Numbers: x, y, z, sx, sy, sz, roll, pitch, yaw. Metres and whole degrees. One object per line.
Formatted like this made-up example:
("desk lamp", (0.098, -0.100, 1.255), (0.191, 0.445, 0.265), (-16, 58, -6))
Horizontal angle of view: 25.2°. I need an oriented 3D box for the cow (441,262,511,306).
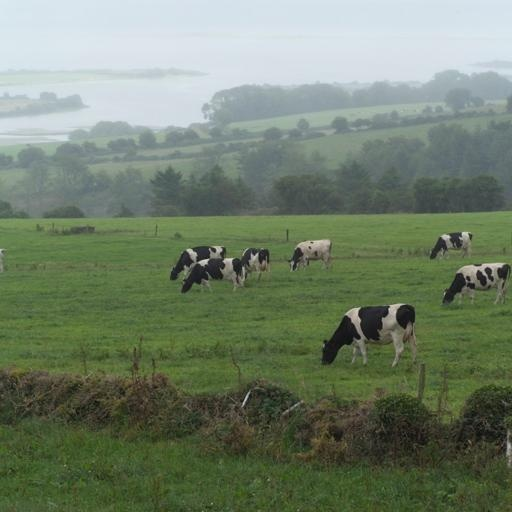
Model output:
("cow", (9.268, 1.074, 47.525), (2.492, 1.775, 0.747), (2, 11, 9))
